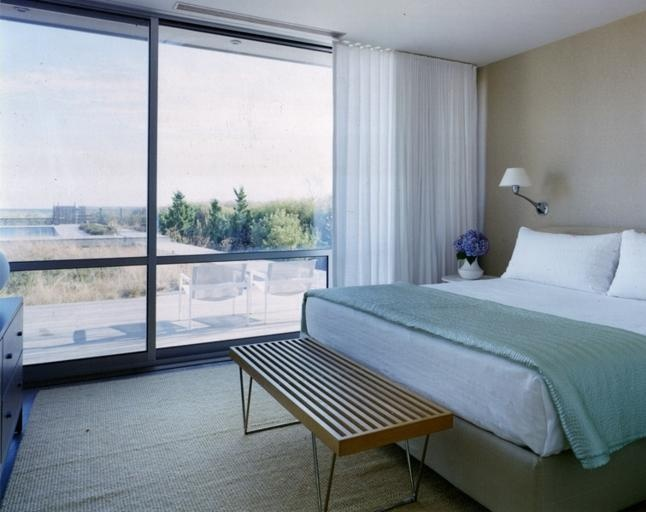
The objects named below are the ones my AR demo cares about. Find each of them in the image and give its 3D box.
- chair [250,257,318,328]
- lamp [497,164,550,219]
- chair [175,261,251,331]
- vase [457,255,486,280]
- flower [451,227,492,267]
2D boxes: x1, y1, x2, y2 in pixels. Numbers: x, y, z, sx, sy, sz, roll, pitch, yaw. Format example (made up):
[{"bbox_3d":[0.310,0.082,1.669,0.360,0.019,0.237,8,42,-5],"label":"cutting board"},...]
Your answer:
[{"bbox_3d":[-0.377,0.360,5.107,0.587,0.836,0.552,-2,5,-28],"label":"chair"},{"bbox_3d":[1.880,-0.633,4.724,0.406,0.464,0.492,-5,11,-30],"label":"lamp"},{"bbox_3d":[-1.074,0.313,4.731,0.633,0.753,0.512,0,1,-29],"label":"chair"},{"bbox_3d":[1.490,0.110,4.890,0.234,0.256,0.237,1,-5,3],"label":"vase"},{"bbox_3d":[1.456,-0.114,4.879,0.327,0.371,0.345,-3,8,-9],"label":"flower"}]
